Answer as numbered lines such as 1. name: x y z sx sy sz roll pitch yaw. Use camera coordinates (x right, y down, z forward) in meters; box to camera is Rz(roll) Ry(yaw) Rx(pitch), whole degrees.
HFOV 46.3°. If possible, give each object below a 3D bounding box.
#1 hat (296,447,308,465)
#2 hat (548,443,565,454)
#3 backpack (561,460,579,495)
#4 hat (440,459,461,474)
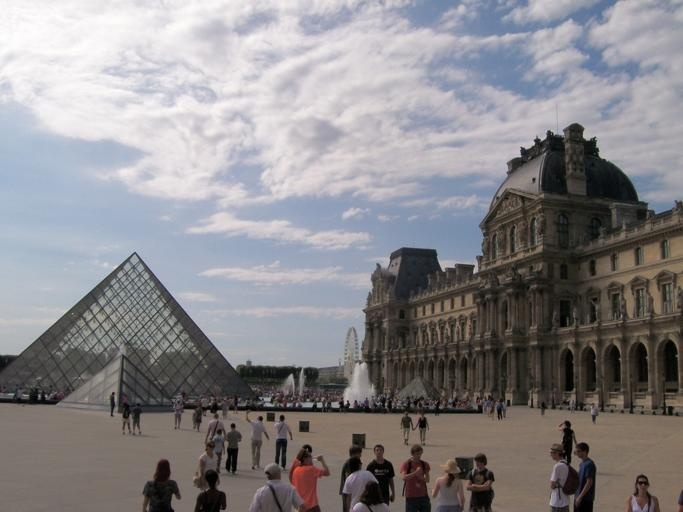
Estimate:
1. hat: -0.965 4.885 19.501 0.259 0.334 0.323 0 -28 23
2. hat: 5.427 4.797 19.859 0.469 0.183 0.422 8 -13 1
3. backpack: 5.695 5.486 19.758 0.343 0.768 0.592 -9 -20 31
4. hat: 2.666 5.104 19.479 0.586 0.325 0.608 0 -5 1
